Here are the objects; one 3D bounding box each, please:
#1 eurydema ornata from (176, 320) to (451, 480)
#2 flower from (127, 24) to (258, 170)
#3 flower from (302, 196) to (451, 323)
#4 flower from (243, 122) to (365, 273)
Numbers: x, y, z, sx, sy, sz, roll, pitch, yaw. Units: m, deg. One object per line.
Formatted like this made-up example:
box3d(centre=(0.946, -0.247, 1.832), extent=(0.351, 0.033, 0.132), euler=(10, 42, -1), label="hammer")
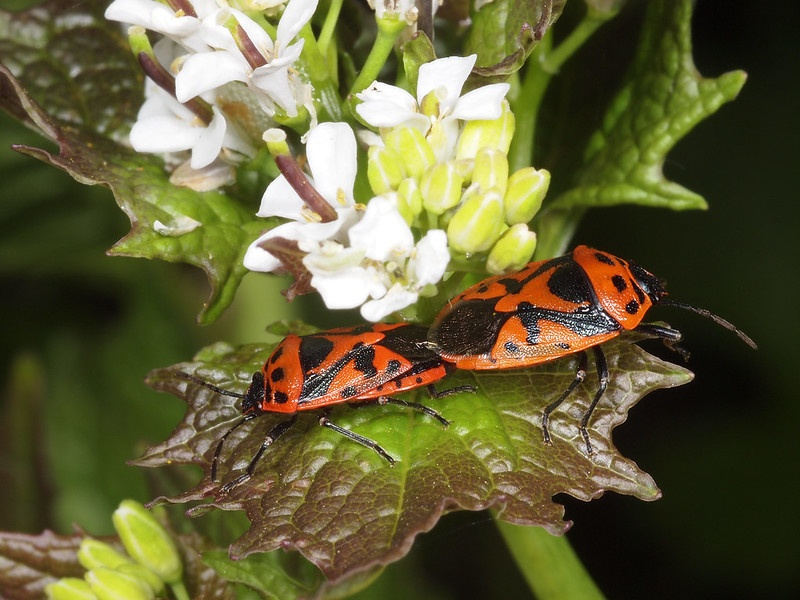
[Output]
box3d(centre=(-0.187, 0.171, 1.877), extent=(0.479, 0.169, 0.360), euler=(-15, 14, 6), label="eurydema ornata")
box3d(centre=(-0.471, -0.444, 1.946), extent=(0.312, 0.337, 0.310), euler=(-2, 29, -8), label="flower")
box3d(centre=(-0.042, -0.069, 1.726), extent=(0.266, 0.279, 0.121), euler=(-34, 5, 8), label="flower")
box3d(centre=(-0.194, -0.256, 1.809), extent=(0.290, 0.311, 0.258), euler=(-11, 31, -30), label="flower")
